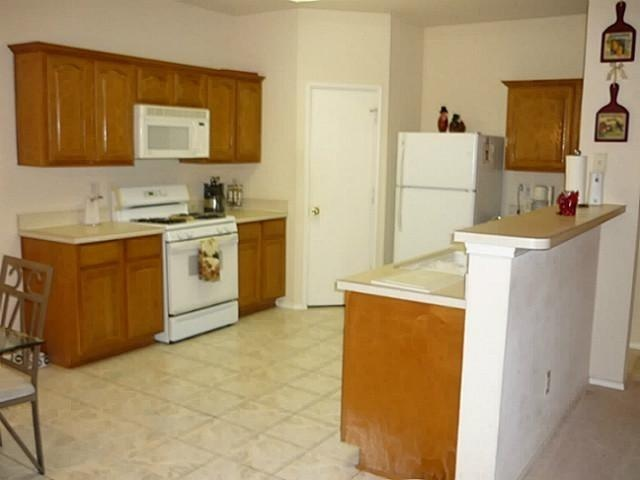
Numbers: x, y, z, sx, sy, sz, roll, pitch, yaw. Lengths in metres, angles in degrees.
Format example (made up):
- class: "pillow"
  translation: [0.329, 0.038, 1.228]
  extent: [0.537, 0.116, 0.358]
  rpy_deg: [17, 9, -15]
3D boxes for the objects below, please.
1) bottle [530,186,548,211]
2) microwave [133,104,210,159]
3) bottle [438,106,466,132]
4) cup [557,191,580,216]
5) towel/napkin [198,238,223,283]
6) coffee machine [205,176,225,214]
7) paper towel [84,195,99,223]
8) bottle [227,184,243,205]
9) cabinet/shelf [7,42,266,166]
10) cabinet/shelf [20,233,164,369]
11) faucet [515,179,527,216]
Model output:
- class: "bottle"
  translation: [2.407, -0.471, 5.744]
  extent: [0.156, 0.273, 0.268]
  rpy_deg: [-3, 13, -18]
- class: "microwave"
  translation: [-1.496, -1.092, 5.226]
  extent: [0.502, 0.551, 0.837]
  rpy_deg: [7, 10, 39]
- class: "bottle"
  translation: [1.574, -1.451, 6.166]
  extent: [0.341, 0.319, 0.197]
  rpy_deg: [-1, 7, -11]
- class: "cup"
  translation: [1.694, -0.251, 3.596]
  extent: [0.152, 0.199, 0.169]
  rpy_deg: [1, -4, 31]
- class: "towel/napkin"
  translation: [-1.097, 0.194, 5.098]
  extent: [0.209, 0.414, 0.148]
  rpy_deg: [-4, 13, -22]
- class: "coffee machine"
  translation: [-1.223, -0.520, 5.935]
  extent: [0.244, 0.387, 0.473]
  rpy_deg: [-1, 13, -11]
- class: "paper towel"
  translation: [-2.158, -0.297, 4.866]
  extent: [0.125, 0.261, 0.196]
  rpy_deg: [-5, 14, -26]
- class: "bottle"
  translation: [-1.029, -0.556, 6.276]
  extent: [0.216, 0.277, 0.143]
  rpy_deg: [-6, 14, -31]
- class: "cabinet/shelf"
  translation: [-1.678, -1.303, 5.263]
  extent: [0.432, 1.038, 2.568]
  rpy_deg: [12, 16, 40]
- class: "cabinet/shelf"
  translation: [-1.981, 0.297, 5.090]
  extent: [1.018, 1.564, 1.314]
  rpy_deg: [3, 6, 28]
- class: "faucet"
  translation: [2.303, -0.484, 5.952]
  extent: [0.102, 0.341, 0.203]
  rpy_deg: [6, 13, 20]
